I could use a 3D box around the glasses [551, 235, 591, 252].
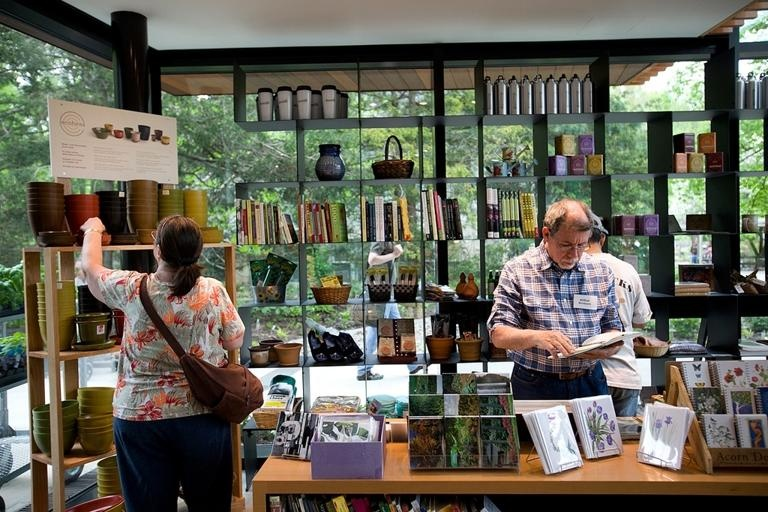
[{"bbox_3d":[1.243,-0.074,4.313,0.223,0.081,0.085,-3,4,2],"label":"glasses"}]

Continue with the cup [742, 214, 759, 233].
[{"bbox_3d":[3.373,-0.302,5.995,0.163,0.166,0.156,1,-4,0],"label":"cup"}]

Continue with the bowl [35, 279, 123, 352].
[{"bbox_3d":[-2.243,0.425,4.688,0.535,0.416,0.473,1,-2,-41],"label":"bowl"}]

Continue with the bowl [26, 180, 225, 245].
[{"bbox_3d":[-1.975,-0.291,5.096,1.560,0.520,0.514,-3,-1,-37],"label":"bowl"}]

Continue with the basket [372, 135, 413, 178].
[{"bbox_3d":[0.091,-0.922,6.135,0.412,0.363,0.411,-2,2,-33],"label":"basket"}]

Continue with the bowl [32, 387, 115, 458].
[{"bbox_3d":[-2.205,1.182,4.712,0.632,0.281,0.374,-2,4,-14],"label":"bowl"}]

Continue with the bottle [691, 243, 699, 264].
[{"bbox_3d":[3.135,-0.038,6.550,0.063,0.197,0.021,-2,5,22],"label":"bottle"}]

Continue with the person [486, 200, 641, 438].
[{"bbox_3d":[1.182,0.786,4.431,0.988,2.185,0.969,1,6,4],"label":"person"}]

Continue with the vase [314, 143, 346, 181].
[{"bbox_3d":[-0.550,-0.879,6.168,0.335,0.380,0.334,-2,3,-44],"label":"vase"}]

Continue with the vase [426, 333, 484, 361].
[{"bbox_3d":[0.638,0.810,5.941,0.384,0.134,0.266,0,-2,6],"label":"vase"}]

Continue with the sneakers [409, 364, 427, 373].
[{"bbox_3d":[0.328,1.110,6.493,0.215,0.088,0.158,1,-4,-7],"label":"sneakers"}]
